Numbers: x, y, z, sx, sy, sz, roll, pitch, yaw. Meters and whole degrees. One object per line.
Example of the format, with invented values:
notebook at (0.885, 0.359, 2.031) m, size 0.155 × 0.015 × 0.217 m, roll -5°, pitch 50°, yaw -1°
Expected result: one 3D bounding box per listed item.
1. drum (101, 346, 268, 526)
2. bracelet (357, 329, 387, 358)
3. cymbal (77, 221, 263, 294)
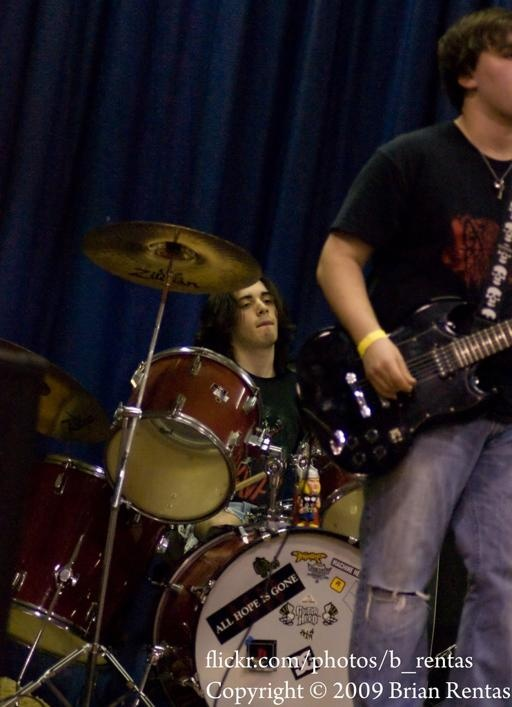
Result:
drum at (-0.193, 0.241, 1.940) m, size 0.352 × 0.510 × 0.210 m, roll 16°, pitch -2°, yaw 0°
bracelet at (0.210, -0.017, 1.264) m, size 0.051 × 0.053 × 0.043 m, roll 15°, pitch -2°, yaw 16°
cymbal at (-0.250, -0.276, 2.086) m, size 0.519 × 0.214 × 0.382 m, roll 14°, pitch -2°, yaw -11°
